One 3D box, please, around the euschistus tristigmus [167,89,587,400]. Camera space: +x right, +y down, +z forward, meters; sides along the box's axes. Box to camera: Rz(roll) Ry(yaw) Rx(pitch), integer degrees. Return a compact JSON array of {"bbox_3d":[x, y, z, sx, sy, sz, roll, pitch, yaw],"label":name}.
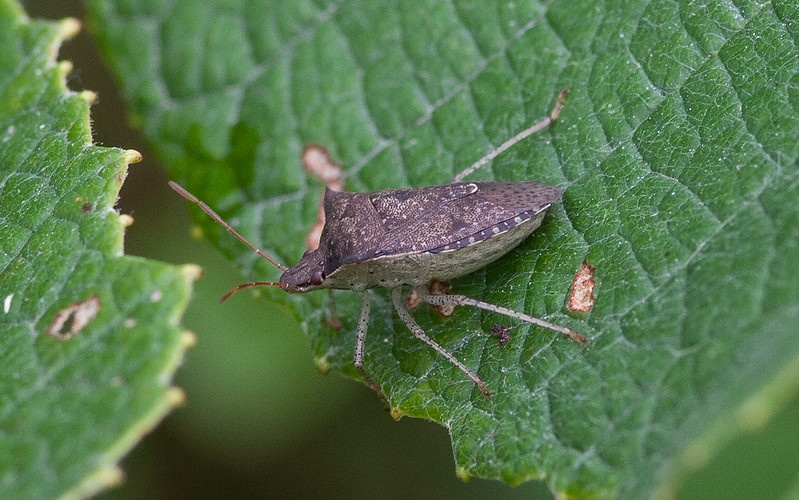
[{"bbox_3d":[0.152,-0.087,4.471,1.869,0.726,1.632,-19,28,0],"label":"euschistus tristigmus"}]
